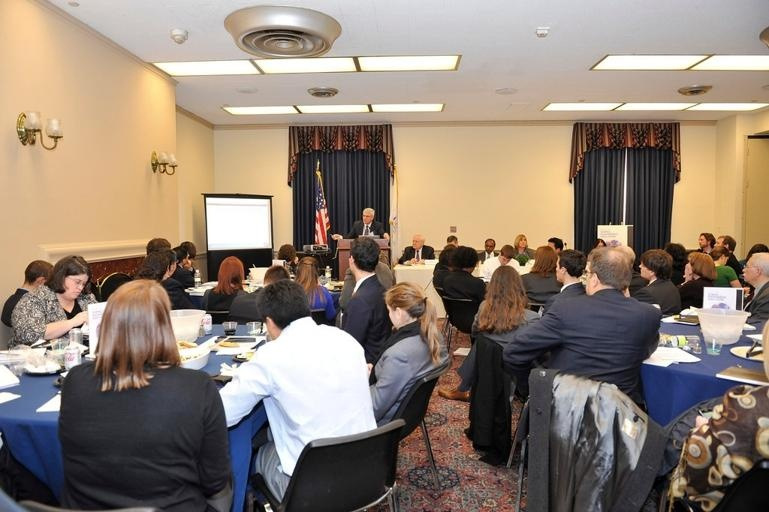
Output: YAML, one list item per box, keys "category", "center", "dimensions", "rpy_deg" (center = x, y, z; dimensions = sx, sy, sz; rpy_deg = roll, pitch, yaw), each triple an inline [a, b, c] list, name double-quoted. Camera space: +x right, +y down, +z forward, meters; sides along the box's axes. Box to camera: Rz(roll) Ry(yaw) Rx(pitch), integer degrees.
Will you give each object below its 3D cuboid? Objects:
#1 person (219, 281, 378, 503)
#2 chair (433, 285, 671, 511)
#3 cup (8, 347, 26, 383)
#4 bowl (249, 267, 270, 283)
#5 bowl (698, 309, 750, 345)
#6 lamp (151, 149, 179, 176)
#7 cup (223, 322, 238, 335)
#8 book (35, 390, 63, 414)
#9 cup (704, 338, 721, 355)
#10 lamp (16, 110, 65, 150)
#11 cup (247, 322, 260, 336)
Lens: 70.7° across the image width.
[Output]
- category: "person"
  center: [-0.508, 0.857, 3.263]
  dimensions: [0.734, 1.387, 0.901]
  rpy_deg: [-19, 41, -36]
- category: "chair"
  center: [1.288, 0.937, 3.993]
  dimensions: [1.008, 1.308, 1.139]
  rpy_deg: [-3, -39, 30]
- category: "cup"
  center: [-2.443, 0.705, 3.590]
  dimensions: [0.059, 0.165, 0.127]
  rpy_deg: [-3, -9, 17]
- category: "bowl"
  center: [-1.679, 0.248, 7.226]
  dimensions: [0.285, 0.205, 0.287]
  rpy_deg: [0, -5, 0]
- category: "bowl"
  center: [2.514, 0.510, 4.018]
  dimensions: [0.292, 0.197, 0.292]
  rpy_deg: [-1, 1, 0]
- category: "lamp"
  center: [-2.995, -1.256, 7.314]
  dimensions: [0.271, 0.352, 0.352]
  rpy_deg: [0, 2, 6]
- category: "cup"
  center: [-1.213, 0.573, 4.268]
  dimensions: [0.094, 0.070, 0.090]
  rpy_deg: [-2, -5, 0]
- category: "book"
  center: [-1.973, 0.878, 3.195]
  dimensions: [0.134, 0.005, 0.281]
  rpy_deg: [-1, 7, -30]
- category: "cup"
  center: [2.378, 0.657, 3.958]
  dimensions: [0.124, 0.098, 0.117]
  rpy_deg: [-1, -2, 0]
- category: "lamp"
  center: [-3.393, -1.247, 5.406]
  dimensions: [0.315, 0.334, 0.525]
  rpy_deg: [-2, 4, -5]
- category: "cup"
  center: [-1.034, 0.562, 4.281]
  dimensions: [0.082, 0.078, 0.092]
  rpy_deg: [-1, -9, 5]
